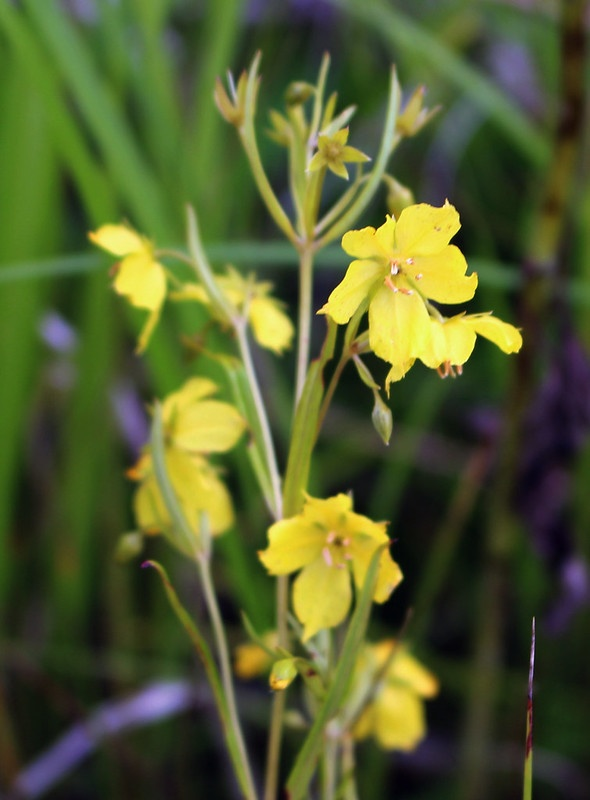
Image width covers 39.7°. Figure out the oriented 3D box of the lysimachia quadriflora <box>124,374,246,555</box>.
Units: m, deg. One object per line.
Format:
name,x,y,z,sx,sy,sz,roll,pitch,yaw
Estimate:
lysimachia quadriflora,-0.083,0.054,0.694,0.107,0.071,0.149,16,98,25
